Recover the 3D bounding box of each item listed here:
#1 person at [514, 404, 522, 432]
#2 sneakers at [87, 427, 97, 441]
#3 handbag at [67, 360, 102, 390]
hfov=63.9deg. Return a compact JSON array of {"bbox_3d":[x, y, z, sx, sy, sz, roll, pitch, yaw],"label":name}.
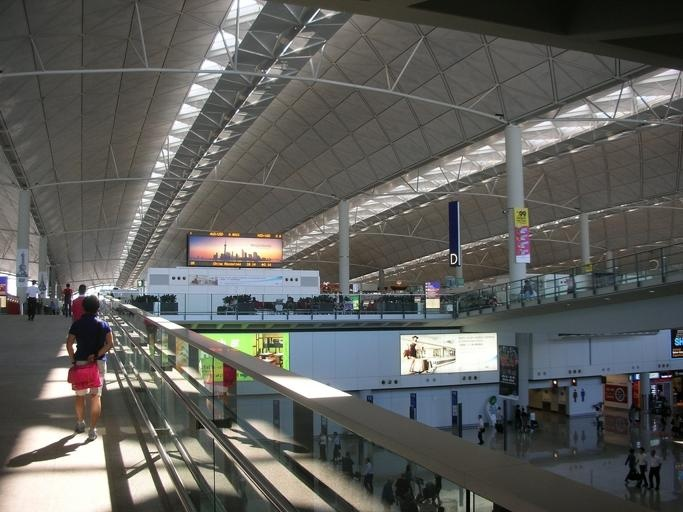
[{"bbox_3d":[11.185,10.207,34.177,0.405,1.335,1.448,-3,-7,17],"label":"person"},{"bbox_3d":[-3.332,2.383,7.328,0.117,0.133,0.243,2,-8,-24],"label":"sneakers"},{"bbox_3d":[-3.610,1.696,7.696,0.424,0.419,0.277,2,-8,-24],"label":"handbag"}]
